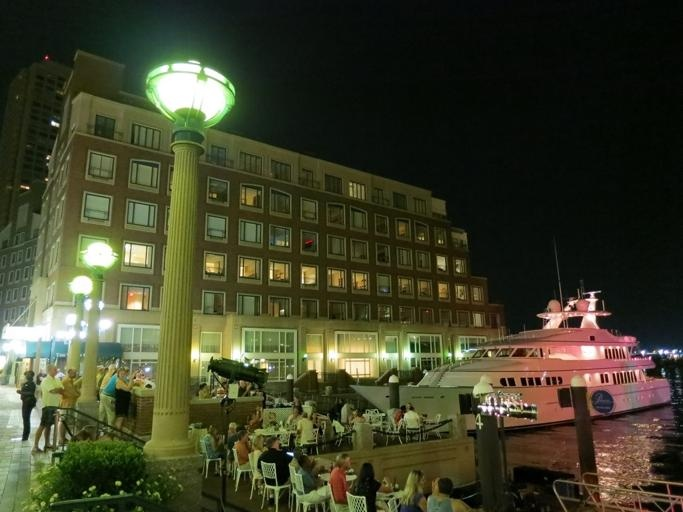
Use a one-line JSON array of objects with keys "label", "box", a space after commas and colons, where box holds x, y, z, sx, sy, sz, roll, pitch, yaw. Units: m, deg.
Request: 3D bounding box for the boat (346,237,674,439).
[{"label": "boat", "box": [20.596, 7.508, 41.123, 34.755, 13.692, 10.145, 11, -21, -29]}]

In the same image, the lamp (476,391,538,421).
[{"label": "lamp", "box": [5.784, 5.221, 17.960, 1.796, 0.855, 1.832, 8, -11, -3]}]
